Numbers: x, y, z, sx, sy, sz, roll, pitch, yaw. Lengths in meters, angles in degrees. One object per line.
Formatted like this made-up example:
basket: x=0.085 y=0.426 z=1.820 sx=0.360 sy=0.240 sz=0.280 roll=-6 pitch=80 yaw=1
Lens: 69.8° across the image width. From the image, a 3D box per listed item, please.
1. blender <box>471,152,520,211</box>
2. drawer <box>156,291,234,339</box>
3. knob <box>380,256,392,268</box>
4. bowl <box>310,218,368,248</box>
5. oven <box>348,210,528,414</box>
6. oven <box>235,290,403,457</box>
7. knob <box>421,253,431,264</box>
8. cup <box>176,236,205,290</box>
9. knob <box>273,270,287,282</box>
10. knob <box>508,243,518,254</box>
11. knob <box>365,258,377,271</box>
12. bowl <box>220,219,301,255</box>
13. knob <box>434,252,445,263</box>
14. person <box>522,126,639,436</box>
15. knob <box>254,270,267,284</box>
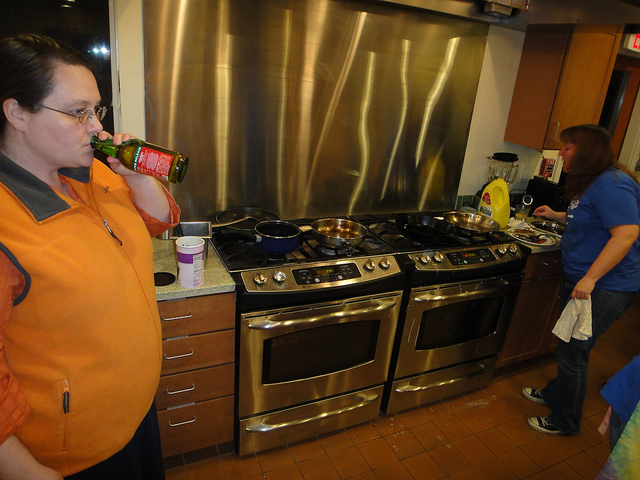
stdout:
blender: x=1.301 y=-0.440 z=3.330 sx=0.435 sy=0.398 sz=0.182 roll=-11 pitch=28 yaw=-33
drawer: x=-0.563 y=0.332 z=2.056 sx=0.328 sy=0.154 sz=0.204 roll=-7 pitch=20 yaw=-24
knob: x=0.343 y=0.113 z=2.366 sx=0.052 sy=0.033 sz=0.071 roll=14 pitch=24 yaw=21
bowl: x=0.115 y=-0.037 z=2.532 sx=0.332 sy=0.105 sz=0.391 roll=5 pitch=23 yaw=-1
oven: x=0.659 y=0.399 z=2.989 sx=0.899 sy=1.024 sz=0.849 roll=-2 pitch=22 yaw=-15
oven: x=-0.103 y=0.605 z=2.593 sx=0.900 sy=0.862 sz=0.617 roll=-3 pitch=18 yaw=-28
knob: x=0.573 y=0.100 z=2.466 sx=0.052 sy=0.038 sz=0.058 roll=11 pitch=23 yaw=13
cup: x=-0.578 y=0.102 z=2.050 sx=0.131 sy=0.192 sz=0.120 roll=4 pitch=16 yaw=-1
knob: x=-0.187 y=0.163 z=2.150 sx=0.066 sy=0.039 sz=0.070 roll=4 pitch=23 yaw=-2
knob: x=1.145 y=0.046 z=2.713 sx=0.051 sy=0.017 sz=0.050 roll=-6 pitch=53 yaw=2
knob: x=0.263 y=0.125 z=2.332 sx=0.045 sy=0.019 sz=0.057 roll=10 pitch=51 yaw=-28
bowl: x=-0.290 y=-0.016 z=2.325 sx=0.369 sy=0.107 sz=0.191 roll=-10 pitch=28 yaw=-31
knob: x=0.648 y=0.089 z=2.506 sx=0.043 sy=0.021 sz=0.059 roll=-22 pitch=58 yaw=-29
person: x=1.532 y=0.259 z=2.621 sx=0.419 sy=1.698 sz=0.599 roll=6 pitch=23 yaw=2
knob: x=-0.277 y=0.171 z=2.119 sx=0.044 sy=0.019 sz=0.059 roll=7 pitch=20 yaw=-2
